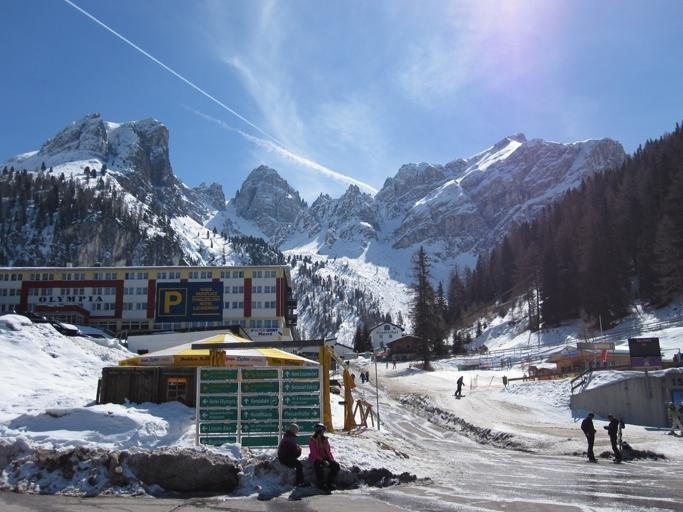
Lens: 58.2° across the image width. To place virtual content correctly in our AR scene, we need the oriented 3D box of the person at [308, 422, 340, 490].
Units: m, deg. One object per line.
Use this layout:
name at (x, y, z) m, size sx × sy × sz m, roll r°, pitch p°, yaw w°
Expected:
person at (-0.814, 8.533, 26.008) m, size 1.130 × 2.693 × 0.705 m, roll -2°, pitch -12°, yaw -3°

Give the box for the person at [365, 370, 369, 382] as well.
person at (3.241, 15.435, 78.786) m, size 0.369 × 1.582 × 0.439 m, roll 5°, pitch 16°, yaw 24°

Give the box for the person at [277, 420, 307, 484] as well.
person at (-2.146, 8.381, 25.942) m, size 1.111 × 2.518 × 0.599 m, roll -1°, pitch -12°, yaw -7°
